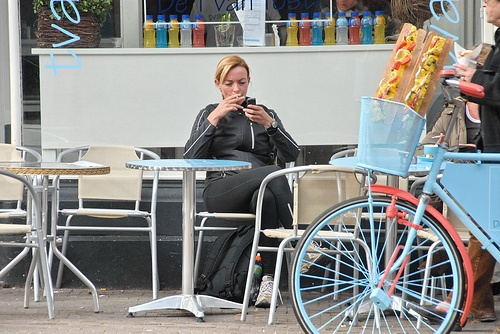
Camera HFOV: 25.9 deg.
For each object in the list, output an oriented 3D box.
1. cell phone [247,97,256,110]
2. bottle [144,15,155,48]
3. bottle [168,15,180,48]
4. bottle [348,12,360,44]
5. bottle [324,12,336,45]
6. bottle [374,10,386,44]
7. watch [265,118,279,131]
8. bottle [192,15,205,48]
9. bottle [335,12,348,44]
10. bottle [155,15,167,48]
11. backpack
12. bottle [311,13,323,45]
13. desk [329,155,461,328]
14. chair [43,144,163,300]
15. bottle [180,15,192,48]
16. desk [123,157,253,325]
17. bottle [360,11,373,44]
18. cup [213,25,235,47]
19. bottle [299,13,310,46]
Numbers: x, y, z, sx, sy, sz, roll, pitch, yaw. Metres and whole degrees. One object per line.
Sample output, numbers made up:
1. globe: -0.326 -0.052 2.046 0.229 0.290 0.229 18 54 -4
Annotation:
1. cell phone: 0.013 -0.578 9.739 0.073 0.087 0.160 0 6 -2
2. bottle: -1.005 -1.373 10.913 0.116 0.329 0.144 -2 7 -15
3. bottle: -0.755 -1.366 10.865 0.084 0.327 0.107 -7 9 -44
4. bottle: 1.046 -1.396 10.825 0.117 0.317 0.104 0 7 4
5. bottle: 0.800 -1.389 10.834 0.117 0.312 0.072 0 7 3
6. bottle: 1.284 -1.397 10.779 0.124 0.319 0.079 0 7 -2
7. watch: 0.198 -0.390 9.846 0.073 0.104 0.109 1 2 7
8. bottle: -0.506 -1.376 10.883 0.114 0.323 0.075 -1 7 -4
9. bottle: 0.922 -1.367 10.812 0.122 0.272 0.063 0 7 3
10. bottle: -0.875 -1.365 10.875 0.103 0.322 0.086 5 8 35
11. backpack: -0.150 0.905 9.735 0.633 0.771 0.435 3 -24 39
12. bottle: 0.669 -1.387 10.835 0.117 0.317 0.101 0 7 3
13. desk: 1.182 0.568 9.109 0.969 1.435 1.486 -1 7 -8
14. chair: -1.299 0.447 10.601 1.284 1.747 1.310 1 -2 -3
15. bottle: -0.636 -1.371 10.883 0.119 0.323 0.098 -1 7 -5
16. desk: -0.537 0.651 9.486 1.110 1.193 1.083 -1 3 -14
17. bottle: 1.164 -1.402 10.815 0.113 0.321 0.080 0 7 6
18. cup: -0.248 -1.326 10.870 0.197 0.164 0.214 0 6 0
19. bottle: 0.554 -1.381 10.826 0.121 0.317 0.087 0 7 2
